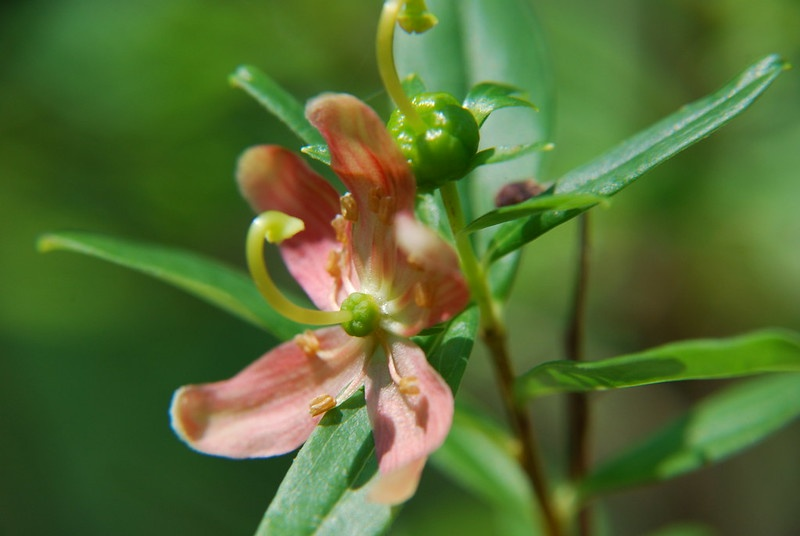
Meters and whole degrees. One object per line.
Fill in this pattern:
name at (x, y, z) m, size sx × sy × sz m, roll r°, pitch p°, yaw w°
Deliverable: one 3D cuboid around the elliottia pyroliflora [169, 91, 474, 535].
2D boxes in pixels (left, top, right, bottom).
elliottia pyroliflora at (-0.165, 0.047, 1.633) m, size 0.588 × 0.684 × 0.496 m, roll 8°, pitch 27°, yaw 45°
